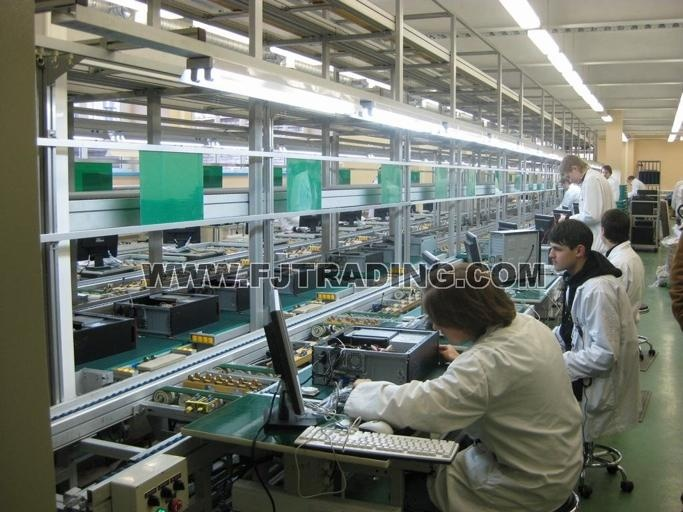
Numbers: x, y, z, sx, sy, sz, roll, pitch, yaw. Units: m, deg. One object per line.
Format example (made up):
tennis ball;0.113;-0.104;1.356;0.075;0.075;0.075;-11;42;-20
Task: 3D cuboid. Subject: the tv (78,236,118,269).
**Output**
tv;-2.168;-0.043;4.582;0.092;0.211;0.344;8;9;27

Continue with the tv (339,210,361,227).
tv;0.117;-0.581;7.844;0.428;0.240;0.117;-3;11;-22

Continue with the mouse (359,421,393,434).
mouse;0.122;0.589;1.764;0.084;0.025;0.047;4;-1;24

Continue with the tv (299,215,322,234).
tv;-0.465;-0.511;7.968;0.106;0.257;0.414;-7;5;-23

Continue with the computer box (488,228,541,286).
computer box;1.578;-0.024;4.768;0.482;0.374;0.252;-8;11;-35
